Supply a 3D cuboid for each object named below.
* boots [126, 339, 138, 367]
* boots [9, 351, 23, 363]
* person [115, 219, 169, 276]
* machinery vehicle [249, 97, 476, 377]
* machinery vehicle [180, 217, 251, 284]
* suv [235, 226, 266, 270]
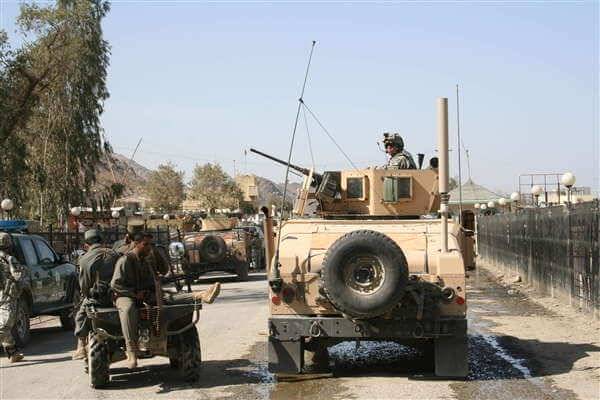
[{"bbox_3d":[-3.096,2.787,12.258,0.214,0.485,0.328,-2,3,-20],"label":"boots"},{"bbox_3d":[-6.144,3.365,14.403,0.333,0.222,0.167,-9,8,-23],"label":"boots"},{"bbox_3d":[-3.085,0.902,13.203,0.898,1.180,0.579,-8,6,-15],"label":"person"},{"bbox_3d":[1.659,0.733,15.798,4.467,4.818,7.783,-2,3,8],"label":"machinery vehicle"},{"bbox_3d":[-3.718,1.988,29.114,2.978,2.370,5.160,-2,3,-2],"label":"machinery vehicle"},{"bbox_3d":[-2.895,2.358,33.008,1.385,2.100,2.282,0,-3,0],"label":"suv"}]
